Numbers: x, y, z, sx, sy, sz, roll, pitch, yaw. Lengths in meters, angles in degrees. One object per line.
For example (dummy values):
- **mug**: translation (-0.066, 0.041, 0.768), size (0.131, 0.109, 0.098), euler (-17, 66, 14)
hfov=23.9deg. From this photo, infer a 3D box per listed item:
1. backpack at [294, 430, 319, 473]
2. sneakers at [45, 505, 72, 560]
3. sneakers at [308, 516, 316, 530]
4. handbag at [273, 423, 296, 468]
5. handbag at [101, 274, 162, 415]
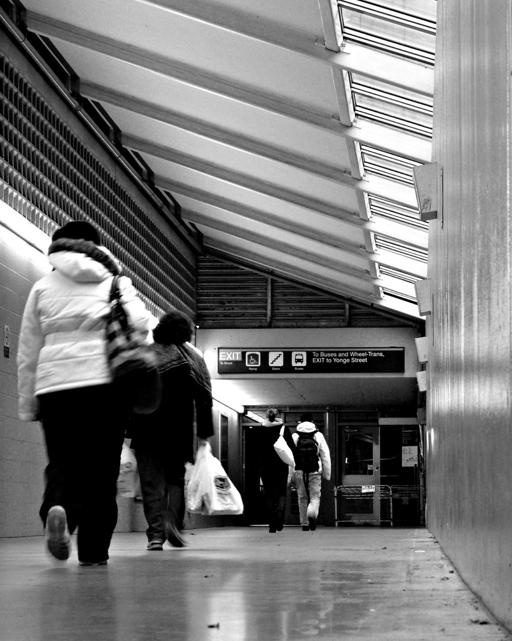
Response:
- **backpack**: translation (0.668, 1.755, 16.295), size (0.299, 0.544, 0.492), euler (-2, 3, 3)
- **sneakers**: translation (-0.890, 0.964, 5.459), size (0.087, 0.291, 0.114), euler (-9, 25, -12)
- **sneakers**: translation (0.743, 2.671, 16.016), size (0.129, 0.195, 0.144), euler (0, -15, 5)
- **handbag**: translation (0.300, 1.361, 13.514), size (0.201, 0.470, 0.507), euler (-1, -10, 6)
- **handbag**: translation (-0.582, 0.082, 5.583), size (0.263, 0.668, 0.266), euler (-2, -10, 13)
